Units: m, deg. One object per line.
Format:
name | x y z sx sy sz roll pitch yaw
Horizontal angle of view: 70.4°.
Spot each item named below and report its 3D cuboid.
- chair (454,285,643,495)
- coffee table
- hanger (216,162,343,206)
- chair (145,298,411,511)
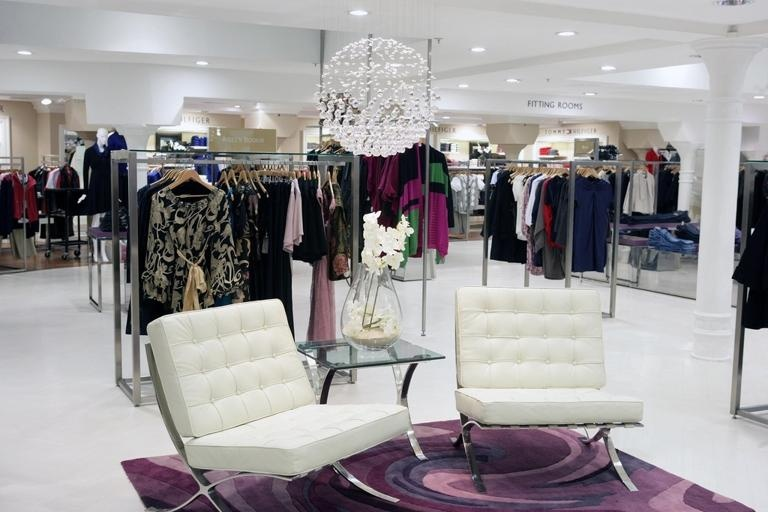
chair | 1.064 0.882 4.221 1.316 1.347 1.352 1 3 -5
coffee table | -0.150 0.950 4.134 0.922 0.805 0.904 -2 3 -28
hanger | -1.057 -0.718 5.329 1.095 0.380 1.385 -3 9 -14
chair | -0.633 0.938 3.641 1.433 1.318 1.319 4 5 32
